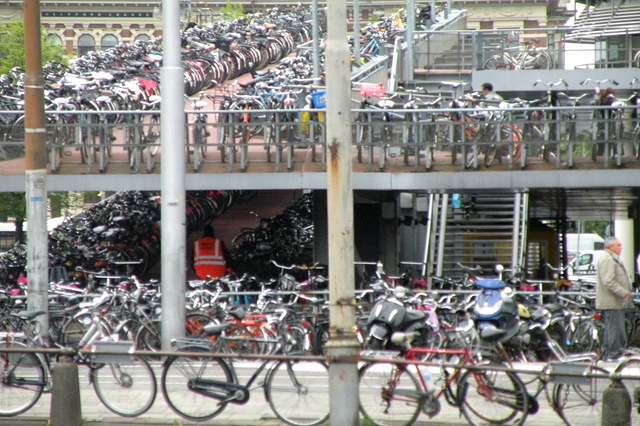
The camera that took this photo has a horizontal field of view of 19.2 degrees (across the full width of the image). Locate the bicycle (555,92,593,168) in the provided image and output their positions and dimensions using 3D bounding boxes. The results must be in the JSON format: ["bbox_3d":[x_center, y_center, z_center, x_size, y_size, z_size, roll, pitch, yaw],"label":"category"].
[{"bbox_3d":[6.912,-2.548,52.555,1.144,1.348,2.512,1,19,10],"label":"bicycle"}]

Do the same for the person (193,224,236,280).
[{"bbox_3d":[-3.017,1.058,51.993,0.967,1.450,1.472,0,3,-3],"label":"person"}]

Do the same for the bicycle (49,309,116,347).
[{"bbox_3d":[-6.196,2.981,48.715,1.973,0.940,0.878,0,4,9],"label":"bicycle"}]

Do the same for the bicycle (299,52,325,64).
[{"bbox_3d":[-0.420,-5.262,64.498,1.150,0.310,0.702,2,6,-3],"label":"bicycle"}]

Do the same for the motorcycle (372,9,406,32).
[{"bbox_3d":[2.800,-7.662,75.187,1.416,1.109,1.971,-6,-2,1],"label":"motorcycle"}]

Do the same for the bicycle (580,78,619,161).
[{"bbox_3d":[7.841,-2.950,52.809,1.124,1.271,2.438,-2,-10,18],"label":"bicycle"}]

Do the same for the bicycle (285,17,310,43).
[{"bbox_3d":[-1.042,-7.527,78.631,1.160,1.066,0.434,9,30,33],"label":"bicycle"}]

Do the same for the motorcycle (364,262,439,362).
[{"bbox_3d":[2.040,2.681,47.997,1.871,1.739,3.309,0,3,2],"label":"motorcycle"}]
